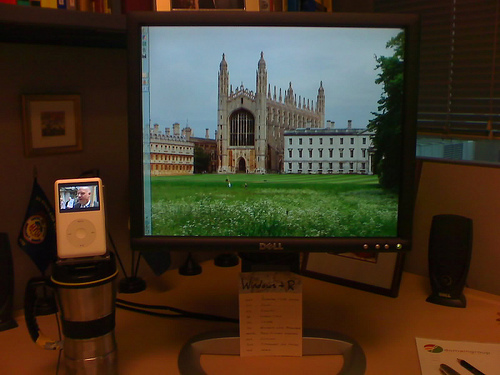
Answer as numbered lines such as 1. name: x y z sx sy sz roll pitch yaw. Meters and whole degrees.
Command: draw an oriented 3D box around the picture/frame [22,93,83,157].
1. picture/frame: -0.766 -0.245 1.787 0.221 0.266 0.018 -3 7 -32
